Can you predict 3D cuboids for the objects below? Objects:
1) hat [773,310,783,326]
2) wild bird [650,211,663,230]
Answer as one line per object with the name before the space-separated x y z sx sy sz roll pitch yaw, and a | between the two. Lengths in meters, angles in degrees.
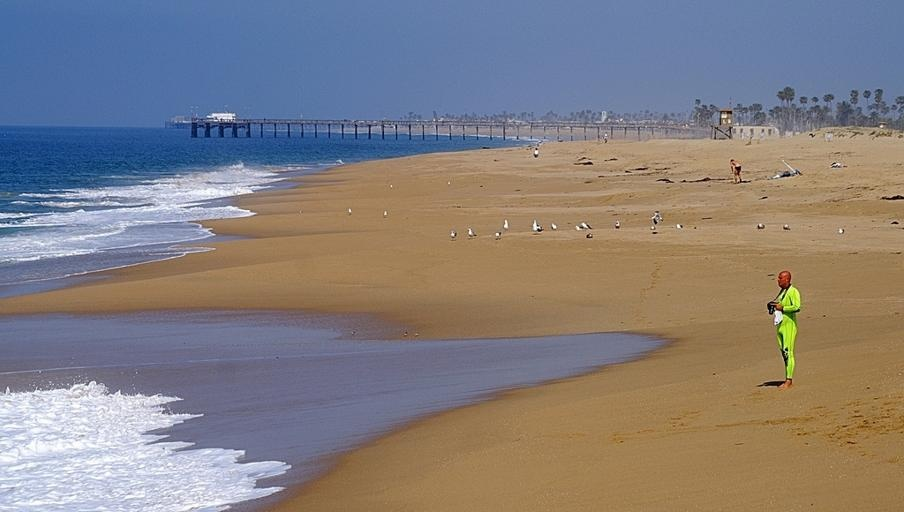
hat | 6.933 1.316 19.864 0.123 0.353 0.176 1 11 -3
wild bird | 7.462 -1.357 34.028 0.486 0.480 1.351 6 17 21
